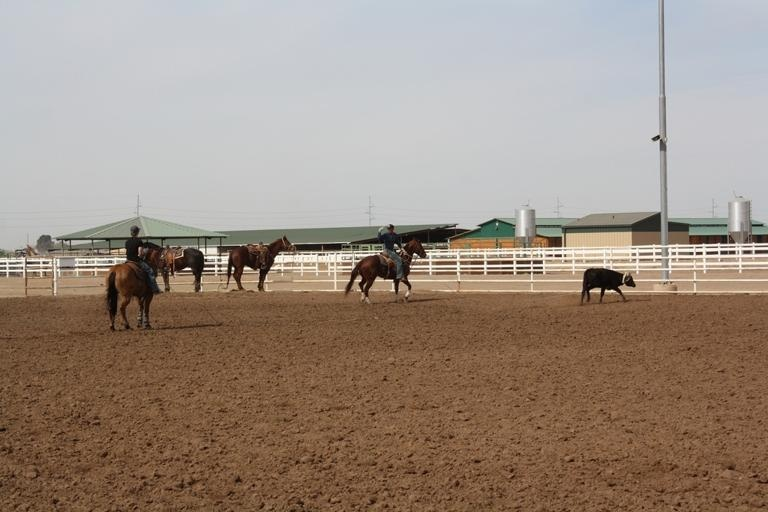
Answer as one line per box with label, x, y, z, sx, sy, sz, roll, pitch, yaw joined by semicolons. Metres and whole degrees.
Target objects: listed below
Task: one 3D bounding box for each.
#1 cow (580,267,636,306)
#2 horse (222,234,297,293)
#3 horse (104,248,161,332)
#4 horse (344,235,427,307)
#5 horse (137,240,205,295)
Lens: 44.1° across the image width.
cow;5.619;0.738;24.001;1.680;0.701;0.379;3;-3;-26
horse;-3.997;0.290;30.604;2.676;1.693;0.785;-2;0;-36
horse;-5.215;0.665;19.876;0.701;1.640;2.381;-1;3;12
horse;0.058;0.449;25.343;2.812;1.614;0.626;-6;4;-37
horse;-6.437;0.337;29.196;2.492;1.449;0.574;-1;-3;20
